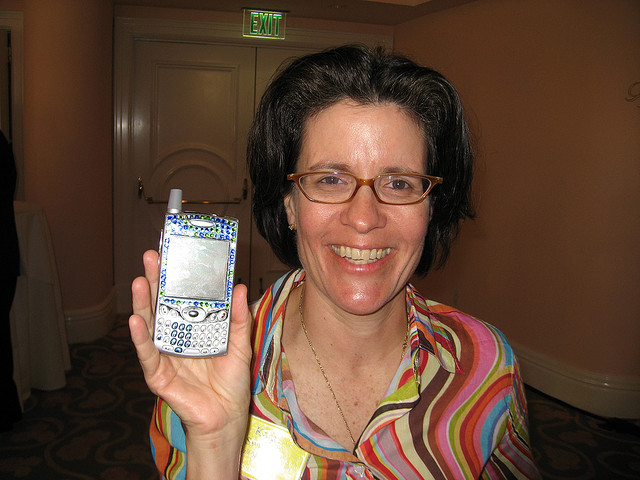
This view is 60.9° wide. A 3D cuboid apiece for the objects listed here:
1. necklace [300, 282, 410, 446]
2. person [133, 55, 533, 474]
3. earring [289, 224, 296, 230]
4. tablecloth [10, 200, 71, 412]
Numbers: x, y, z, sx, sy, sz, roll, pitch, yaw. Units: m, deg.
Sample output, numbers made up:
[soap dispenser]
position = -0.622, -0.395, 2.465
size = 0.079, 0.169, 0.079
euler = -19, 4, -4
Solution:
[necklace]
position = 0.138, 0.435, 1.968
size = 0.292, 0.449, 0.428
euler = 3, 14, -9
[person]
position = 0.050, 0.081, 1.849
size = 1.313, 1.378, 0.737
euler = -4, 14, -22
[earring]
position = -0.104, -0.052, 2.033
size = 0.019, 0.016, 0.025
euler = -1, -4, -23
[tablecloth]
position = -1.688, 0.401, 3.491
size = 0.245, 1.459, 0.702
euler = 2, 5, -6
